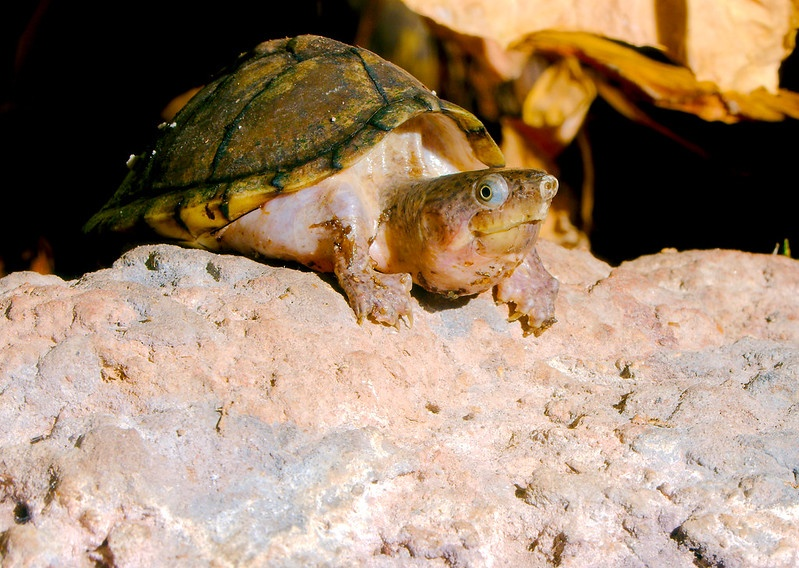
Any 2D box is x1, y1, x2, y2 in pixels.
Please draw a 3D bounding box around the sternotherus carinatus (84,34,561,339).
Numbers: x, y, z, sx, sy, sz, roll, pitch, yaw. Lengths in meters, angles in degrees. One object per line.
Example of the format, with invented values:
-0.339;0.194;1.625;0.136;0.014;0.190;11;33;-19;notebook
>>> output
-0.416;-0.717;7.321;3.219;1.356;1.963;13;16;43;sternotherus carinatus
